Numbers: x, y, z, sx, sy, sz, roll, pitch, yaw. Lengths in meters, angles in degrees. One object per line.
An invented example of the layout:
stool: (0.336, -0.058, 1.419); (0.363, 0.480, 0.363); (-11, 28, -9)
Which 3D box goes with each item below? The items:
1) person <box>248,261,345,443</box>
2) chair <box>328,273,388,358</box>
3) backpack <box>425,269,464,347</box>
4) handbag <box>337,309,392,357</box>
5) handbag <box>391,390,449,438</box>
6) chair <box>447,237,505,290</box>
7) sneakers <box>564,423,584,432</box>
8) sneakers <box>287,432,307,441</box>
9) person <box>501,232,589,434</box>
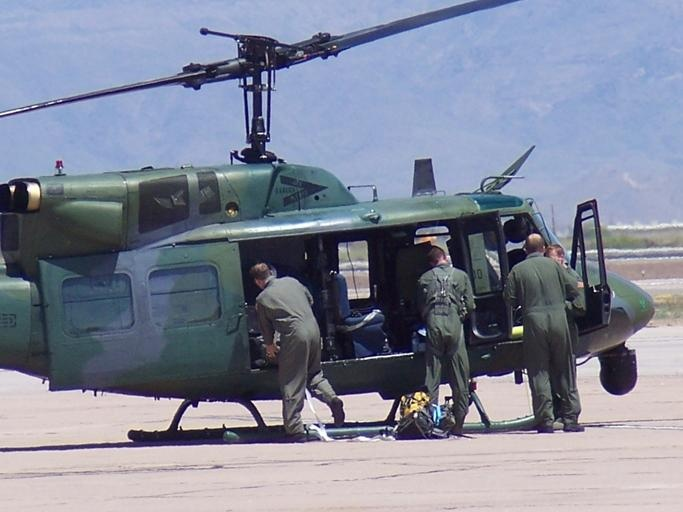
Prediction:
person: (-0.502, 1.076, 16.186); (0.992, 1.957, 0.538); (-1, 3, -3)
chair: (0.221, 0.724, 17.111); (0.699, 0.928, 0.703); (-5, 2, 1)
backpack: (1.155, 0.563, 16.282); (0.533, 0.769, 0.345); (-2, -7, 1)
handbag: (0.246, 0.902, 16.867); (0.626, 0.545, 0.514); (0, 3, -11)
handbag: (0.882, 1.800, 16.166); (0.616, 0.222, 0.504); (-1, 4, -26)
chair: (1.649, 0.089, 17.339); (0.623, 0.967, 0.601); (-8, 2, 0)
sneakers: (2.645, 1.964, 16.330); (0.181, 0.076, 0.105); (9, -5, -29)
sneakers: (-0.493, 2.029, 15.977); (0.222, 0.097, 0.061); (-1, 3, 3)
person: (2.328, 1.015, 16.451); (0.878, 1.979, 0.407); (-1, 3, 7)
